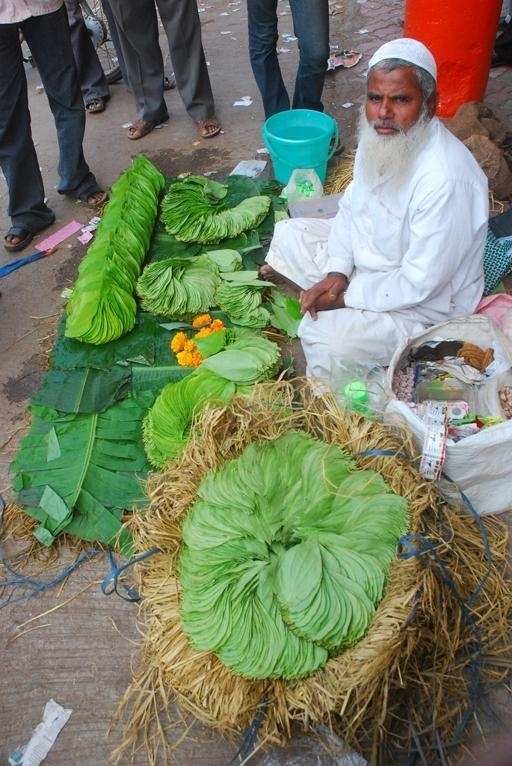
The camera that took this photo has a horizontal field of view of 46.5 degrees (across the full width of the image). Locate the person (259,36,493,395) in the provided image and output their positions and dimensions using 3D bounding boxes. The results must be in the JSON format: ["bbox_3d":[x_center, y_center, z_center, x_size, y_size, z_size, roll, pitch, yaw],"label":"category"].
[{"bbox_3d":[0.534,-0.756,2.685,0.944,1.215,0.993,-19,50,-4],"label":"person"}]

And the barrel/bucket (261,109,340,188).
[{"bbox_3d":[0.291,-1.591,3.925,0.560,0.425,0.522,-1,56,2],"label":"barrel/bucket"}]

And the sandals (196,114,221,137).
[{"bbox_3d":[-0.405,-2.172,5.024,0.114,0.103,0.264,-10,35,-3],"label":"sandals"}]

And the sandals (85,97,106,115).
[{"bbox_3d":[-1.557,-2.679,5.752,0.127,0.149,0.356,-16,30,-16],"label":"sandals"}]

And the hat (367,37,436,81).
[{"bbox_3d":[0.597,-1.333,2.454,0.266,0.153,0.207,-14,50,0],"label":"hat"}]

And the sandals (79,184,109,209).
[{"bbox_3d":[-1.222,-1.417,4.513,0.117,0.123,0.310,-43,42,-18],"label":"sandals"}]
